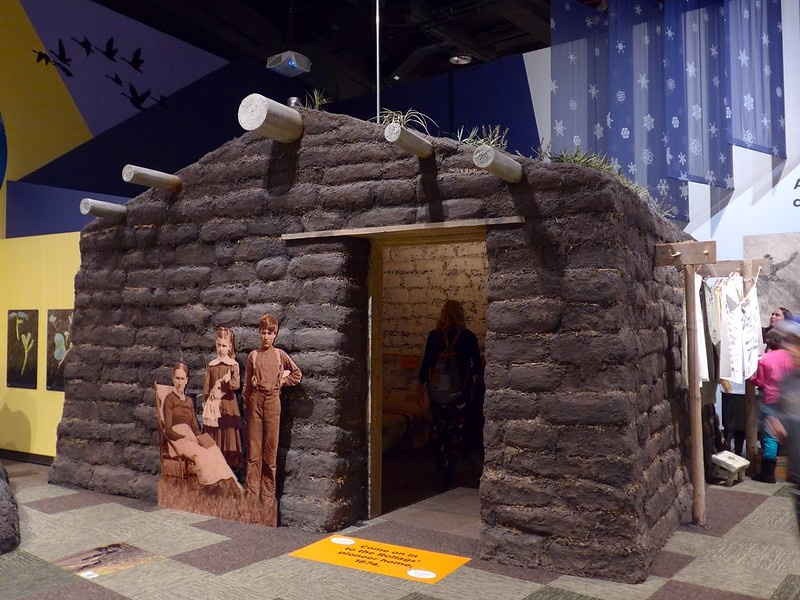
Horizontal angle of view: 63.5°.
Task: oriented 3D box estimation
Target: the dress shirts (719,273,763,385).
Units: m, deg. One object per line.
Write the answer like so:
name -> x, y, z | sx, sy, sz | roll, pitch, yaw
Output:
dress shirts -> 3.573, 0.387, 6.724 | 0.145, 1.097, 0.439 | 13, -12, -39

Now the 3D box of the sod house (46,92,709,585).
sod house -> -0.095, 0.023, 8.395 | 6.554, 3.903, 4.783 | 0, 2, 21

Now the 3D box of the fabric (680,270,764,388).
fabric -> 3.316, 0.294, 6.693 | 0.672, 1.228, 1.198 | -5, -7, 44

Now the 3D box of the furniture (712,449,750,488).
furniture -> 3.654, 1.850, 7.130 | 0.376, 0.297, 0.604 | 12, 6, 37

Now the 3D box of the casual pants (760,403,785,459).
casual pants -> 4.218, 1.519, 7.379 | 0.213, 0.771, 0.173 | -2, -5, 43

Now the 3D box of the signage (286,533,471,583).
signage -> -0.218, 2.187, 5.458 | 2.159, 0.010, 1.312 | 2, -14, 15

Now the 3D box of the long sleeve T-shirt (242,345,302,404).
long sleeve T-shirt -> -1.184, 0.716, 6.096 | 0.530, 0.491, 0.174 | -1, -6, 21
